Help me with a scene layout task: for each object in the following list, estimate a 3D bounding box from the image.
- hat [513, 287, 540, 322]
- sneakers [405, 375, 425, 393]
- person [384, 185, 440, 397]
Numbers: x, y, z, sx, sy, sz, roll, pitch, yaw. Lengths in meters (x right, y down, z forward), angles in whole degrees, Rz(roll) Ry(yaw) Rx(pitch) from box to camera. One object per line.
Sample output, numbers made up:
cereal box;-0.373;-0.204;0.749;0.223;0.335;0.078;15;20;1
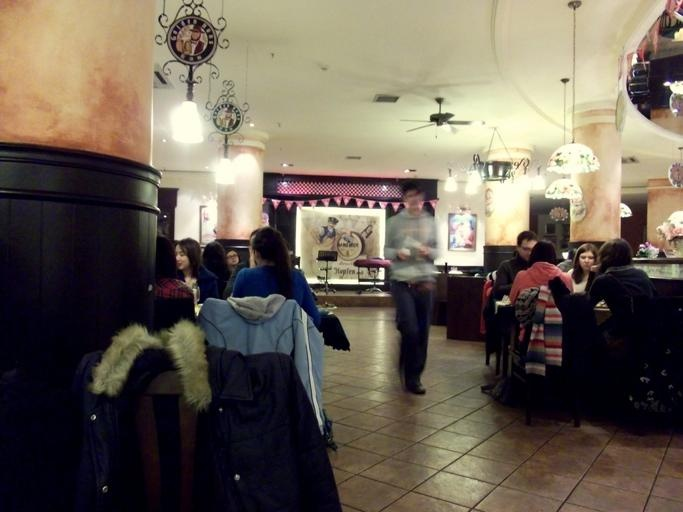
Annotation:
hat;1.518;0.404;4.492;0.188;0.273;0.085;17;18;31
sneakers;0.700;1.199;5.127;0.182;0.188;0.113;-5;-3;11
person;0.654;0.389;5.099;0.506;1.748;0.423;1;2;6
